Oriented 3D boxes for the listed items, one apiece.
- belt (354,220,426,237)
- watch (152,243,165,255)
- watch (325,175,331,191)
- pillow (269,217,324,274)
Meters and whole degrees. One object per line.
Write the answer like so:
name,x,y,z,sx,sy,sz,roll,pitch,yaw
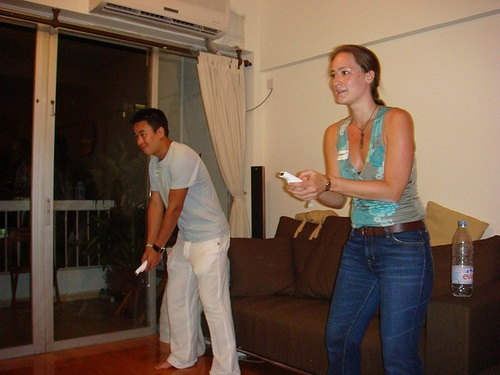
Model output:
belt,0.679,0.197,1.995,0.280,0.075,0.066,-1,2,12
watch,-0.665,0.450,3.083,0.072,0.038,0.071,25,-8,40
watch,0.368,-0.017,1.991,0.033,0.058,0.049,1,6,0
pillow,0.420,0.489,3.656,0.373,0.418,0.118,12,-10,42
